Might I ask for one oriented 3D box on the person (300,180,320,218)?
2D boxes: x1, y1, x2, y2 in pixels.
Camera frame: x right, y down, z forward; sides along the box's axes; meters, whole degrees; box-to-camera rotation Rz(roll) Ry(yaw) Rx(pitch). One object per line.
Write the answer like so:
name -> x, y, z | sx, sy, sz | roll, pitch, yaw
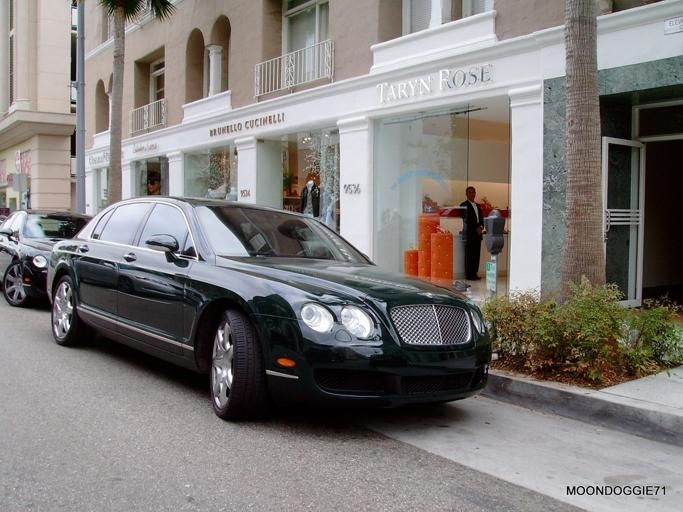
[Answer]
person -> -0.915, -1.625, 14.542 | 0.653, 1.148, 0.208 | 9, 42, 5
